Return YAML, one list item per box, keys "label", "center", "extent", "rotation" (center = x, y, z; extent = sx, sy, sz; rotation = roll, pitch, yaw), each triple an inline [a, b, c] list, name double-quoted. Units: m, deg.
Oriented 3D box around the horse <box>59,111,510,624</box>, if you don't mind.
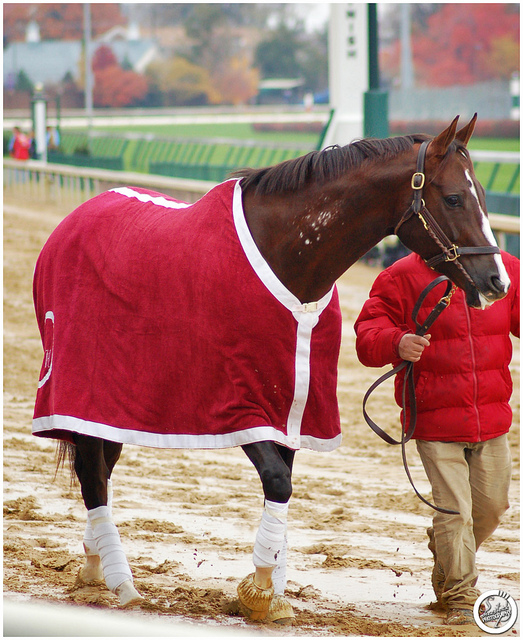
- label: "horse"
  center: [-0.128, 0.235, 6.097]
  extent: [2.184, 2.047, 0.555]
  rotation: [2, 10, 29]
